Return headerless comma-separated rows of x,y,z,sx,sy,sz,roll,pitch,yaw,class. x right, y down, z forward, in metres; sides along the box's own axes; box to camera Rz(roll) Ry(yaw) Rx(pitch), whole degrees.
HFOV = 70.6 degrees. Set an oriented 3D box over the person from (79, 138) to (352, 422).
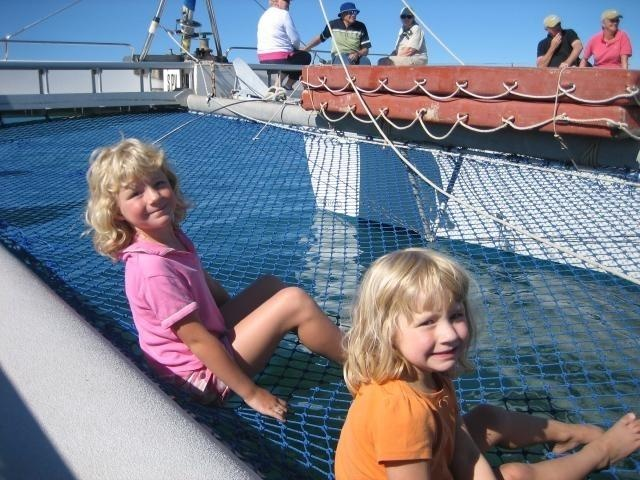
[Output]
-0.441,0.116,1.866,0.943,1.013,0.649,16,21,42,person
